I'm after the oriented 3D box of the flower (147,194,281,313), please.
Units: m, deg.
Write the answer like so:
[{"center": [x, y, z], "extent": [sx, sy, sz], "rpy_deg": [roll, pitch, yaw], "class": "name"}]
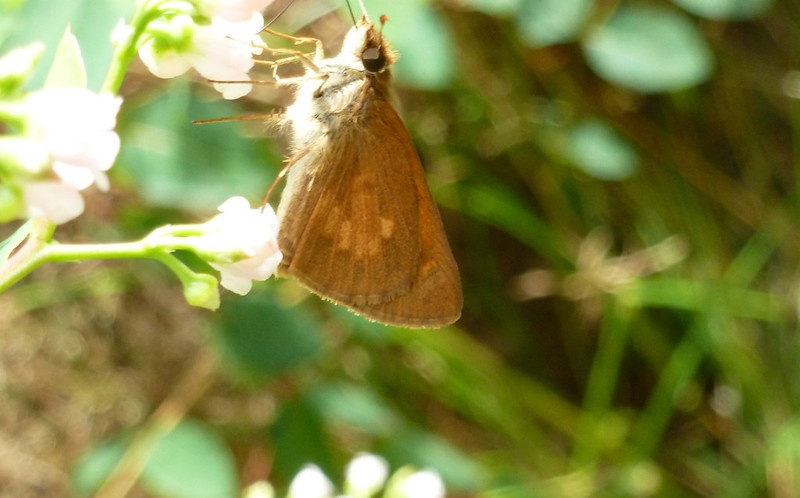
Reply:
[{"center": [-0.567, 0.003, 2.169], "extent": [0.391, 0.272, 0.294], "rpy_deg": [10, 15, 8], "class": "flower"}]
